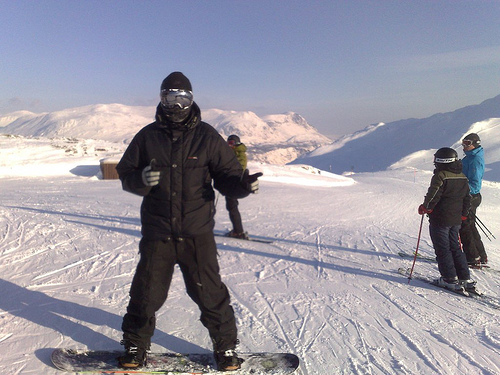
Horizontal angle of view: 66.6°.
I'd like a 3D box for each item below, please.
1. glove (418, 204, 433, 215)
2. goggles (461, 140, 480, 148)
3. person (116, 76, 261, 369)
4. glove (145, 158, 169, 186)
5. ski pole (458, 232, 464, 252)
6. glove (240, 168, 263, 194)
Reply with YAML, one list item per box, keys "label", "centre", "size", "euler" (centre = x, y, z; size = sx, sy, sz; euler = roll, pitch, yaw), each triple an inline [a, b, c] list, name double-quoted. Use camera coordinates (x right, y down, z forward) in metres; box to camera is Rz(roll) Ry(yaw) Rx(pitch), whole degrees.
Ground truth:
- label: "glove"
  centre: [2.884, 0.360, 6.272]
  size: [0.216, 0.193, 0.240]
  euler: [7, 13, 23]
- label: "goggles"
  centre: [4.236, -0.871, 7.309]
  size: [0.267, 0.110, 0.199]
  euler: [1, 4, 9]
- label: "person"
  centre: [-0.773, 0.399, 4.348]
  size: [1.420, 3.290, 0.898]
  euler: [0, 12, -8]
- label: "glove"
  centre: [-1.037, -0.172, 4.215]
  size: [0.166, 0.312, 0.270]
  euler: [4, 12, 14]
- label: "ski pole"
  centre: [3.820, 0.971, 6.924]
  size: [0.068, 0.500, 0.050]
  euler: [13, -24, 13]
- label: "glove"
  centre: [-0.007, -0.072, 4.214]
  size: [0.105, 0.224, 0.232]
  euler: [1, 24, -26]
